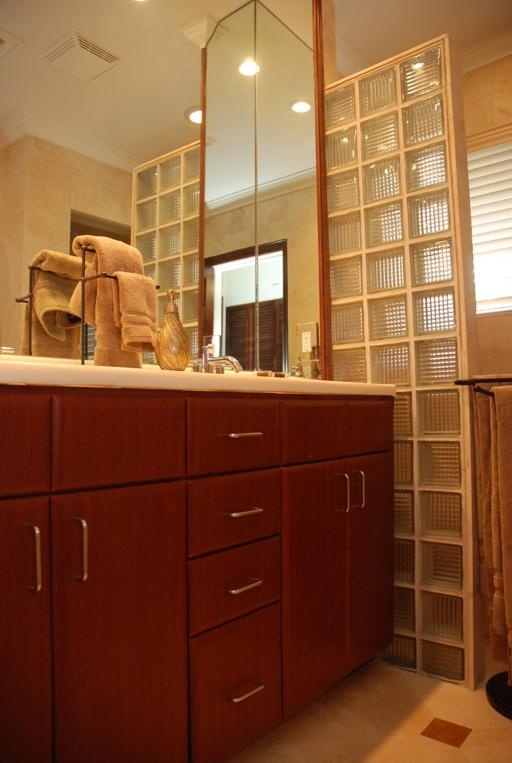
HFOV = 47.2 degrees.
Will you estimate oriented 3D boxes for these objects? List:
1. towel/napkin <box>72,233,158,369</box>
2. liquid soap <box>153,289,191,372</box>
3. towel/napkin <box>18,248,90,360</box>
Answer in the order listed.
[{"bbox_3d":[-0.328,-0.187,1.358,0.189,0.307,0.204,2,-4,-22],"label":"towel/napkin"},{"bbox_3d":[-0.198,-0.109,1.385,0.080,0.161,0.045,1,-4,-14],"label":"liquid soap"},{"bbox_3d":[-0.455,-0.188,1.385,0.183,0.235,0.069,7,9,42],"label":"towel/napkin"}]
